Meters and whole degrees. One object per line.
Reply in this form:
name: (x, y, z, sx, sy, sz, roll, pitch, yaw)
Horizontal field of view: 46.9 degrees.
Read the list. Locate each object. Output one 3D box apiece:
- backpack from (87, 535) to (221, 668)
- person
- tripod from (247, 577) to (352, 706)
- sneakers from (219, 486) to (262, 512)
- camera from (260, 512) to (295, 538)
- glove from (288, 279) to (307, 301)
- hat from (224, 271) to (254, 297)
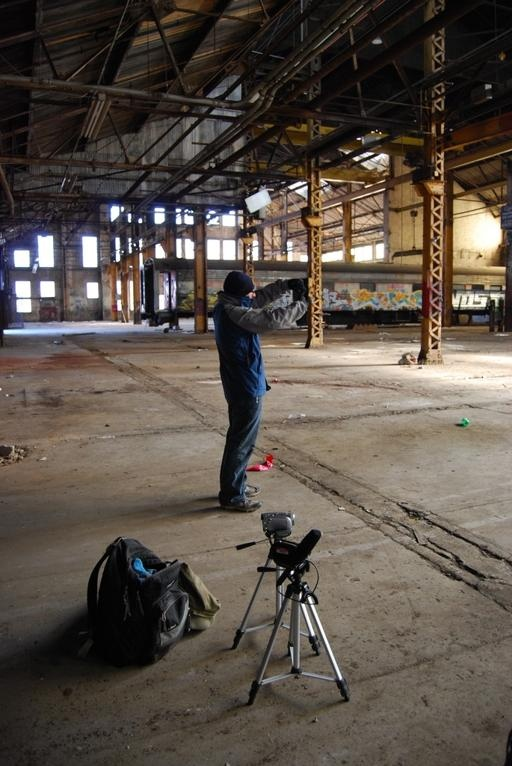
backpack: (-0.463, 0.945, 2.726, 0.572, 0.582, 0.437, 2, 2, 23)
person: (0.004, 0.069, 4.306, 0.589, 1.766, 0.864, -1, 8, -5)
tripod: (0.186, 1.007, 2.323, 0.322, 0.330, 0.479, 27, 32, -15)
sneakers: (-0.150, 0.878, 4.445, 0.377, 0.178, 0.125, -5, 6, -9)
camera: (0.088, 0.587, 2.463, 0.124, 0.124, 0.093, 2, -5, 3)
glove: (0.277, -0.624, 3.955, 0.123, 0.145, 0.326, 0, 7, 4)
hat: (-0.125, -0.728, 4.348, 0.195, 0.201, 0.206, -9, 33, -19)
